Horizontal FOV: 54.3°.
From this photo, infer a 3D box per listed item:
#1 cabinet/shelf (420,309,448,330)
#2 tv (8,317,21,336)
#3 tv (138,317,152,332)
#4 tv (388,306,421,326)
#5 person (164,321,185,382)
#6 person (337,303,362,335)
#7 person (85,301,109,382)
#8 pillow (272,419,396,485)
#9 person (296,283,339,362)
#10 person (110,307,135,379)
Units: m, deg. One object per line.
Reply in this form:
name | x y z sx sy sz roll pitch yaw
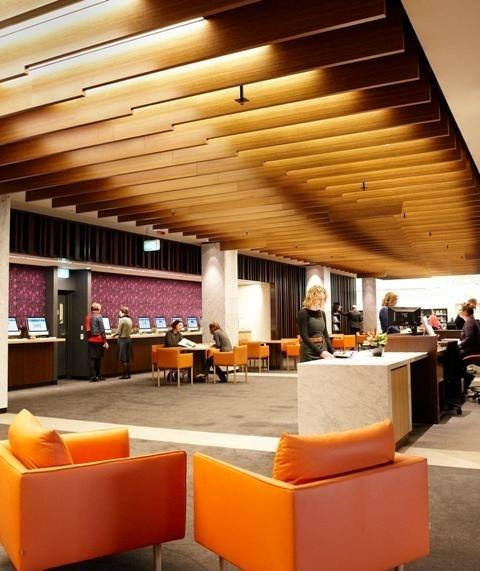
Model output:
cabinet/shelf | 10.849 1.633 26.083 1.315 0.787 2.465 -3 -5 24
tv | -5.116 0.955 10.645 0.230 0.434 0.591 1 -4 -24
tv | -2.881 1.186 13.944 0.295 0.408 0.617 -2 -4 20
tv | 2.595 0.494 7.374 0.452 0.313 0.411 -4 -5 40
person | -1.532 1.531 10.766 0.375 1.465 1.836 0 -4 -9
person | 5.135 1.633 22.108 1.136 2.192 0.635 2 16 20
person | -3.588 1.434 11.734 0.501 1.916 0.936 0 -3 -19
pillow | 0.394 0.657 1.838 0.518 0.210 0.181 -4 -21 -16
person | 0.882 0.443 5.474 0.417 0.895 0.864 -1 -4 10
person | -3.098 1.521 12.395 0.455 1.874 1.126 0 -3 -14
